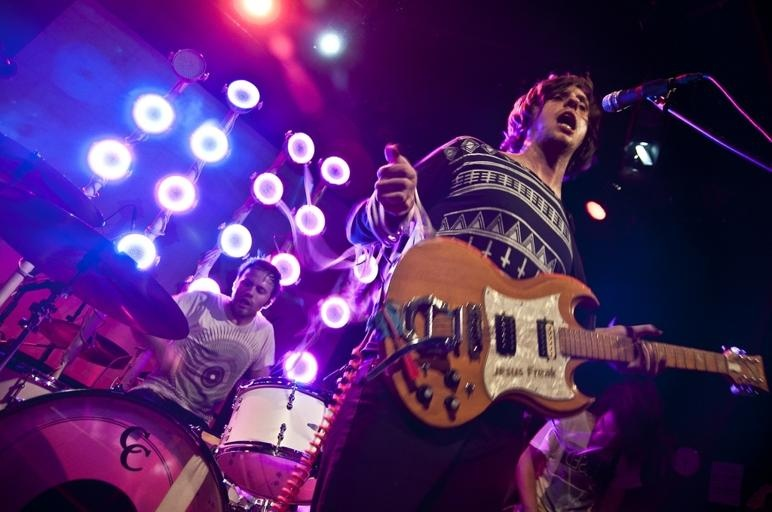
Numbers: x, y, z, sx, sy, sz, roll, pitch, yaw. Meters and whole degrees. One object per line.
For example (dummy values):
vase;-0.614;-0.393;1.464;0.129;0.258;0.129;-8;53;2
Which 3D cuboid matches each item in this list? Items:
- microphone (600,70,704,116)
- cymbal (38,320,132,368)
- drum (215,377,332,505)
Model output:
microphone;2.630;-1.599;5.960;0.961;0.228;0.272;-1;-71;39
cymbal;-3.469;0.993;6.958;0.607;0.219;0.861;11;-20;49
drum;-1.169;1.956;6.916;1.209;0.927;1.339;9;-41;10
